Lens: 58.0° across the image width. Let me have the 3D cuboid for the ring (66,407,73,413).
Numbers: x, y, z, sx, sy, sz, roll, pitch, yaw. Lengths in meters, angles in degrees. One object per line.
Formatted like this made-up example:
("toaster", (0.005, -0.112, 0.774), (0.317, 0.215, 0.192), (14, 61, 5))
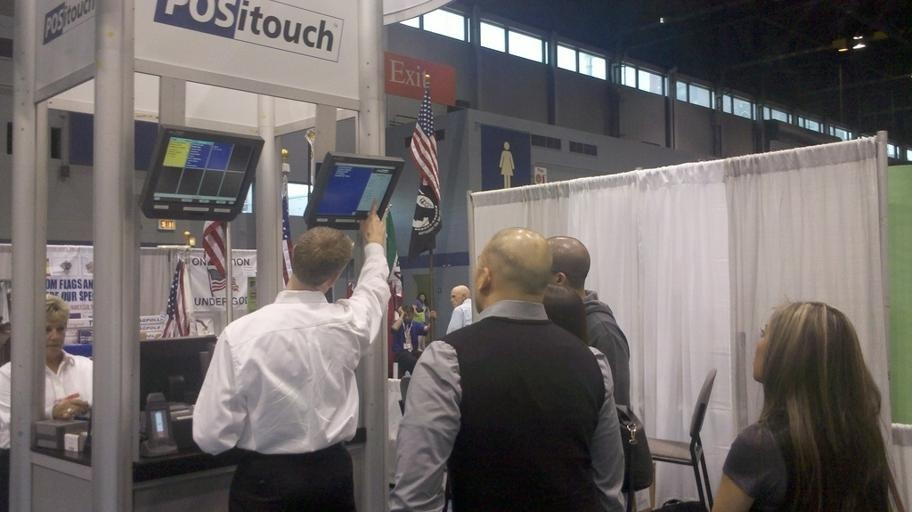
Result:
("ring", (-2.660, 1.061, 5.643), (0.026, 0.039, 0.039), (-3, -4, 44))

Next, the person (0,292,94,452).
("person", (-2.975, 0.856, 5.938), (0.694, 1.145, 0.634), (0, -3, -15))

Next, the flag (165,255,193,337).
("flag", (-3.038, 0.435, 8.949), (0.296, 0.847, 0.974), (1, -3, -18))

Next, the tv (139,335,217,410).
("tv", (-1.979, 0.842, 5.800), (0.176, 0.515, 0.545), (-10, -8, 43))

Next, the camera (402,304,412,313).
("camera", (-0.695, 0.757, 11.730), (0.101, 0.134, 0.133), (6, 4, -18))
